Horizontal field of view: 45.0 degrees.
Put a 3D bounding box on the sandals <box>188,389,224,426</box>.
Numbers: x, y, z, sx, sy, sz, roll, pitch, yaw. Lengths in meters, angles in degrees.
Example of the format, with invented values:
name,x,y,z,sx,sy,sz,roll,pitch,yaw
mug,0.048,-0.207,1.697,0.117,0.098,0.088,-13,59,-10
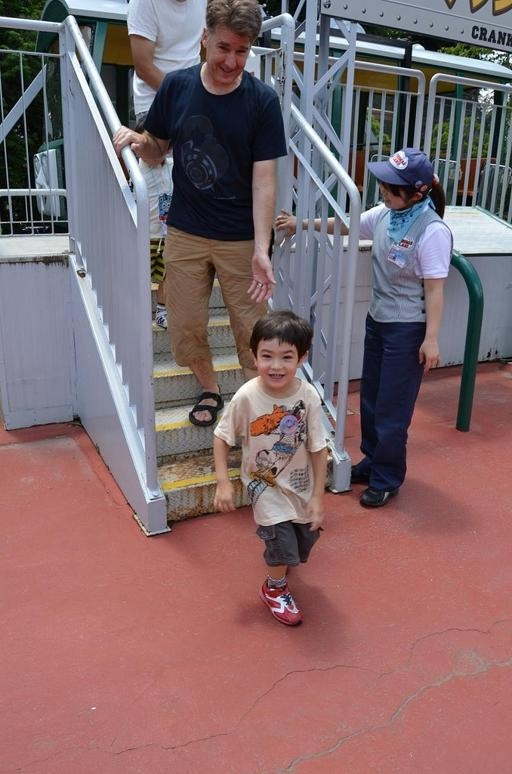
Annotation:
name,x,y,z,sx,sy,sz,roll,pitch,yaw
sandals,-0.236,0.098,2.884,0.087,0.081,0.218,6,18,5

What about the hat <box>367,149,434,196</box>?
name,x,y,z,sx,sy,sz,roll,pitch,yaw
hat,0.621,-0.897,2.606,0.245,0.120,0.169,8,54,-19

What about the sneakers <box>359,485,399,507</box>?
name,x,y,z,sx,sy,sz,roll,pitch,yaw
sneakers,0.573,0.518,2.931,0.172,0.081,0.076,-7,14,-44

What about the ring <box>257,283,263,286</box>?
name,x,y,z,sx,sy,sz,roll,pitch,yaw
ring,0.017,-0.412,2.504,0.010,0.012,0.016,5,-5,29

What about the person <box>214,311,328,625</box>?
name,x,y,z,sx,sy,sz,roll,pitch,yaw
person,0.047,0.271,2.020,0.358,1.008,0.368,4,22,3

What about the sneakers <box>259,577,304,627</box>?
name,x,y,z,sx,sy,sz,roll,pitch,yaw
sneakers,0.085,0.715,2.091,0.074,0.081,0.175,-2,19,-32
